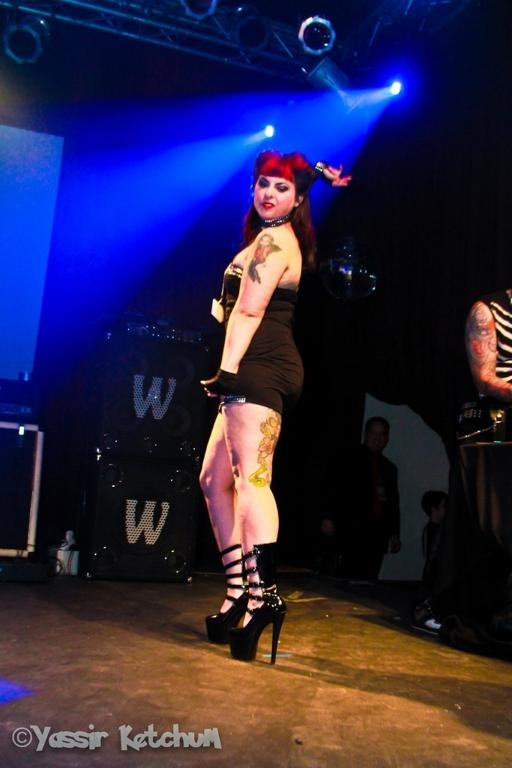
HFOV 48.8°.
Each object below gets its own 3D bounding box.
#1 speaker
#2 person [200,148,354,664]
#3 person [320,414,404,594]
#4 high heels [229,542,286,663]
[{"bbox_3d":[-0.631,0.383,3.351,0.630,1.147,0.279,6,-3,-17],"label":"speaker"},{"bbox_3d":[0.029,0.020,1.870,0.415,1.712,0.480,5,-3,-5],"label":"person"},{"bbox_3d":[0.943,1.247,4.894,0.595,2.000,0.524,11,24,18],"label":"person"},{"bbox_3d":[0.002,0.651,1.683,0.162,0.337,0.094,1,-2,2],"label":"high heels"}]
